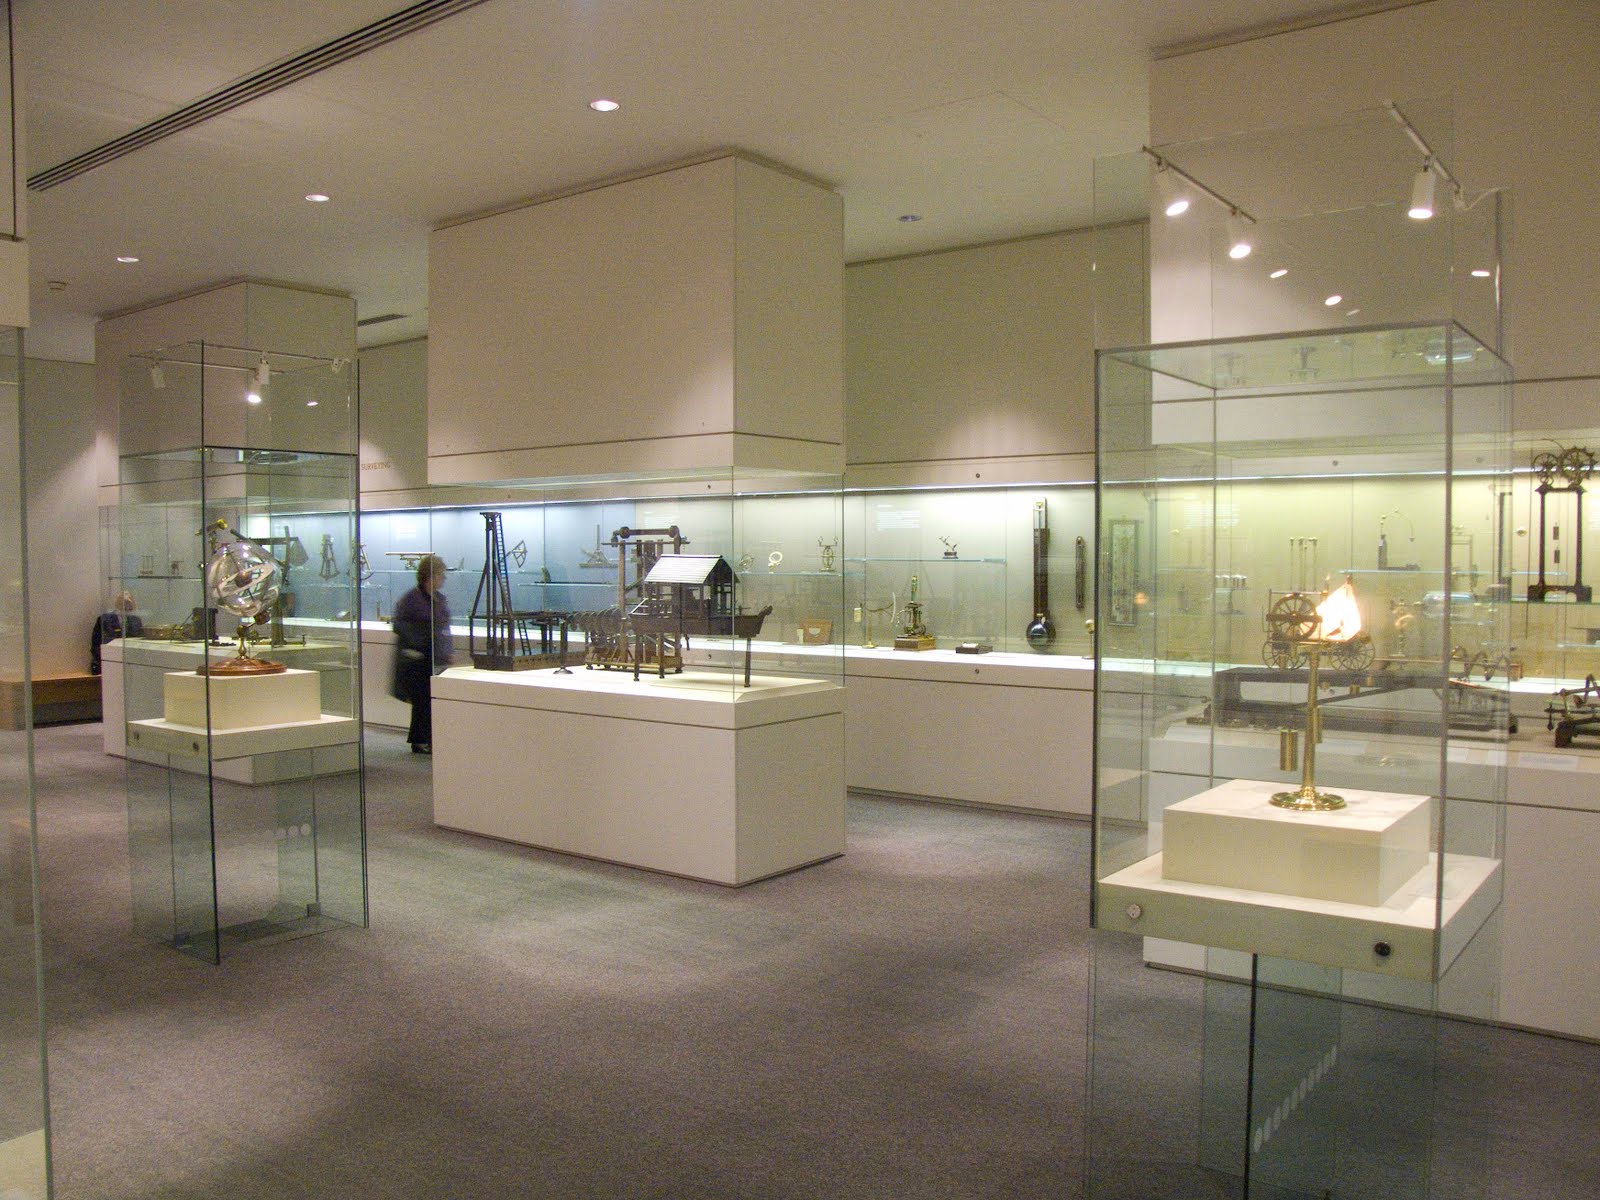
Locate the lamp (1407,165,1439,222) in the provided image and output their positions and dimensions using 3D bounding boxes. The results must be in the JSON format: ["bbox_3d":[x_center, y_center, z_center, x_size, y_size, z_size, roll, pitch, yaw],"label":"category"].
[{"bbox_3d":[1.580,-1.026,3.182,0.084,0.143,0.051,-4,6,-27],"label":"lamp"}]
